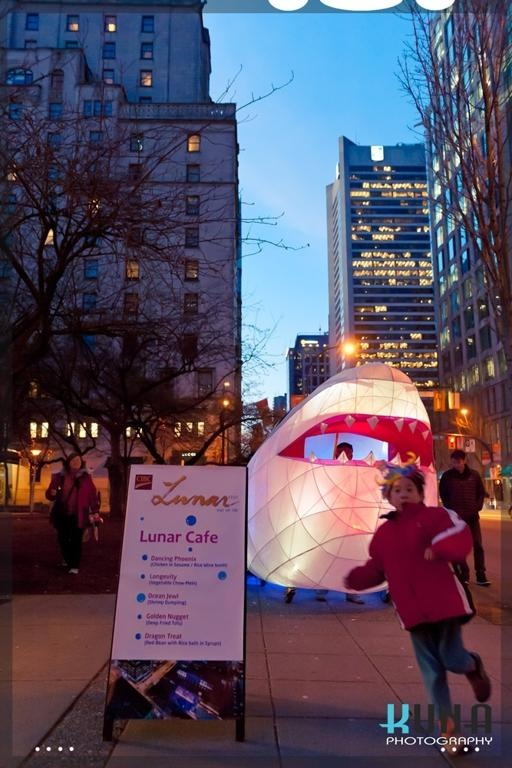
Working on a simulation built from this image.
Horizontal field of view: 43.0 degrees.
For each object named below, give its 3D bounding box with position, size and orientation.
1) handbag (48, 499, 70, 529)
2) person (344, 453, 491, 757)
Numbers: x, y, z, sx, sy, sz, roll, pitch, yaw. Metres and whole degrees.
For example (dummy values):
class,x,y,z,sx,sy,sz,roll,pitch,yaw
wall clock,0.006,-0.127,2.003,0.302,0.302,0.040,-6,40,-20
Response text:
class,x,y,z,sx,sy,sz,roll,pitch,yaw
handbag,-3.254,2.185,10.658,0.342,0.498,0.115,-1,5,-38
person,0.948,1.238,3.618,0.439,1.554,0.821,4,-7,-34
